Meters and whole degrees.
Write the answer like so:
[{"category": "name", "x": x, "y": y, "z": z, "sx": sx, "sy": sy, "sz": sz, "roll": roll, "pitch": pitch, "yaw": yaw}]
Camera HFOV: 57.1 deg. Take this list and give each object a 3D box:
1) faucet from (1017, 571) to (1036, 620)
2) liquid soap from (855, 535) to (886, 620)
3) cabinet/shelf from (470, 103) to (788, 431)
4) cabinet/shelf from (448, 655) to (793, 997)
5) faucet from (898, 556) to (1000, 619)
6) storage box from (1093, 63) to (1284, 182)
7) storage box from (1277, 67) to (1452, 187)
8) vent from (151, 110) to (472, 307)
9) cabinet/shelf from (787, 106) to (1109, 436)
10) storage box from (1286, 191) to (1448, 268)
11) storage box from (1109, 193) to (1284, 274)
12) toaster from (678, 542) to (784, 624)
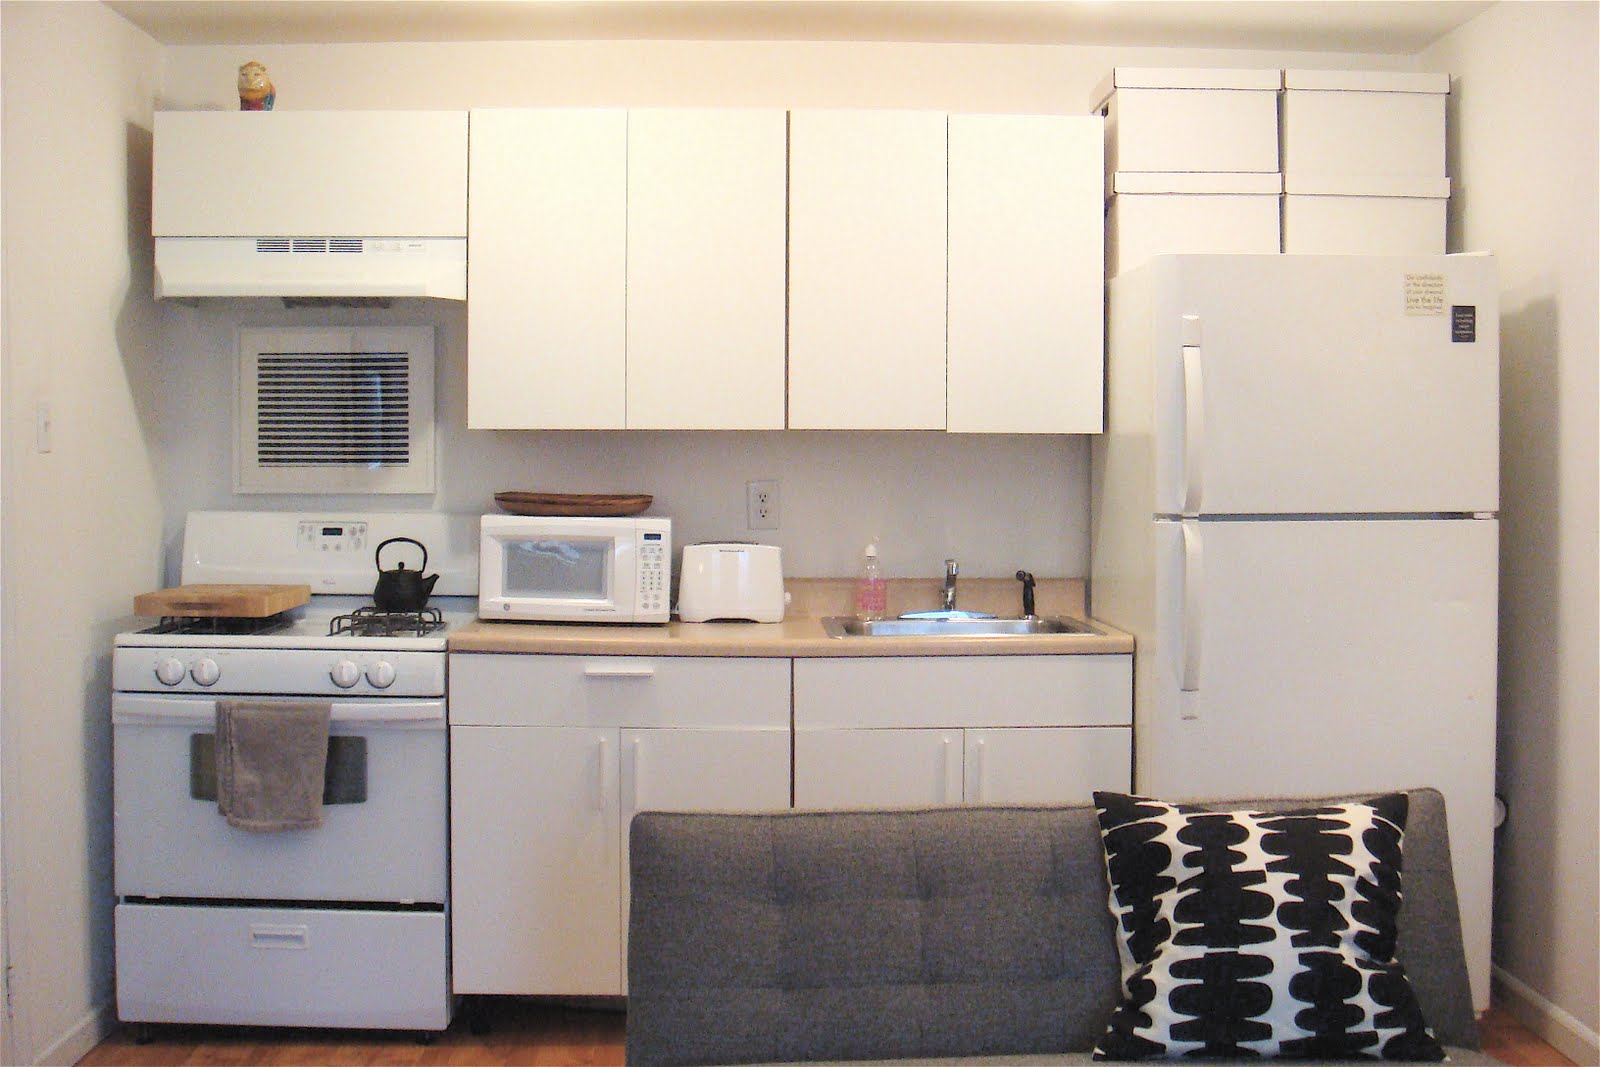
[{"category": "faucet", "x": 0.772, "y": 0.209, "z": 5.052, "sx": 0.065, "sy": 0.164, "sz": 0.107, "roll": -1, "pitch": 0, "yaw": 8}, {"category": "liquid soap", "x": 0.237, "y": 0.169, "z": 5.052, "sx": 0.098, "sy": 0.270, "sz": 0.147, "roll": -1, "pitch": 0, "yaw": 4}, {"category": "cabinet/shelf", "x": -0.569, "y": -0.887, "z": 4.757, "sx": 1.044, "sy": 0.974, "sz": 0.537, "roll": 0, "pitch": -2, "yaw": -1}, {"category": "cabinet/shelf", "x": -0.535, "y": 0.811, "z": 4.339, "sx": 1.058, "sy": 1.030, "sz": 0.527, "roll": 0, "pitch": -4, "yaw": -2}, {"category": "faucet", "x": 0.495, "y": 0.201, "z": 5.115, "sx": 0.239, "sy": 0.155, "sz": 0.219, "roll": 1, "pitch": -2, "yaw": 0}, {"category": "storage box", "x": 1.279, "y": -1.344, "z": 4.804, "sx": 0.410, "sy": 0.245, "sz": 0.404, "roll": 0, "pitch": 5, "yaw": 1}, {"category": "storage box", "x": 1.850, "y": -1.285, "z": 4.817, "sx": 0.424, "sy": 0.252, "sz": 0.418, "roll": 1, "pitch": 5, "yaw": 7}, {"category": "vent", "x": -1.588, "y": -1.090, "z": 5.012, "sx": 1.044, "sy": 0.607, "sz": 0.582, "roll": 0, "pitch": 6, "yaw": 1}, {"category": "cabinet/shelf", "x": 0.470, "y": -0.862, "z": 4.757, "sx": 1.039, "sy": 0.977, "sz": 0.528, "roll": 0, "pitch": -3, "yaw": -2}, {"category": "storage box", "x": 1.869, "y": -1.011, "z": 4.828, "sx": 0.282, "sy": 0.136, "sz": 0.394, "roll": -1, "pitch": 6, "yaw": -7}, {"category": "storage box", "x": 1.282, "y": -0.911, "z": 4.933, "sx": 0.548, "sy": 0.253, "sz": 0.300, "roll": 0, "pitch": -21, "yaw": -8}, {"category": "toaster", "x": -0.262, "y": 0.168, "z": 5.042, "sx": 0.375, "sy": 0.265, "sz": 0.348, "roll": 1, "pitch": 2, "yaw": -10}]
